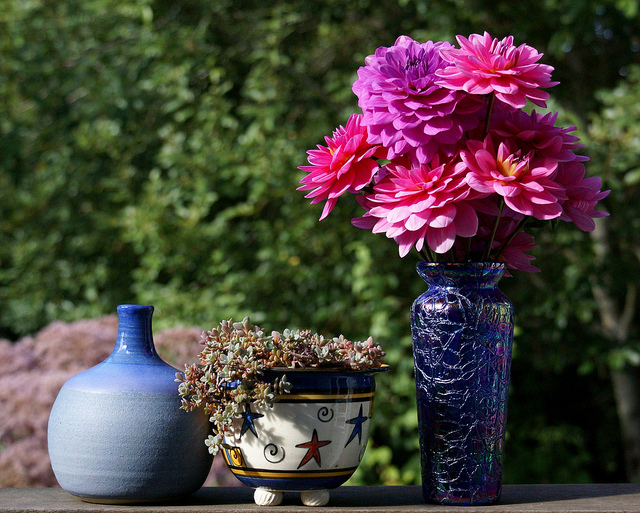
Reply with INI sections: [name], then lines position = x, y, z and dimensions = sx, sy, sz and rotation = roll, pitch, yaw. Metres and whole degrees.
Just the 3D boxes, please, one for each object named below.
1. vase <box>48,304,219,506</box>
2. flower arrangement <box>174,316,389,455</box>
[vase]
position = -0.504, 0.428, 3.264
dimensions = 0.384, 0.480, 0.425
rotation = 1, -8, -4
[flower arrangement]
position = -0.172, 0.292, 3.237
dimensions = 0.440, 0.396, 0.194
rotation = 4, -39, 6
